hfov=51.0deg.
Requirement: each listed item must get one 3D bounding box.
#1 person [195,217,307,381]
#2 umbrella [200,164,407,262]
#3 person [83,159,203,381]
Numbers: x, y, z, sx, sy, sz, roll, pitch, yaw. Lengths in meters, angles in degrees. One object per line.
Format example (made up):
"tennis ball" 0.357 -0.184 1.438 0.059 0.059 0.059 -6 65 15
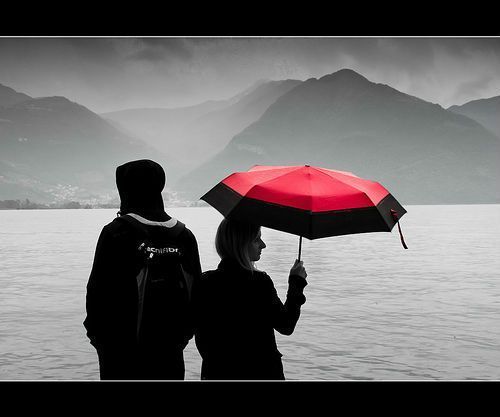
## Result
"person" 0.005 0.645 3.643 0.752 1.110 0.318 2 -5 -4
"umbrella" 0.381 -0.068 3.684 1.046 0.502 0.920 3 18 2
"person" -0.754 0.439 3.767 0.801 1.599 0.256 3 -5 -14
